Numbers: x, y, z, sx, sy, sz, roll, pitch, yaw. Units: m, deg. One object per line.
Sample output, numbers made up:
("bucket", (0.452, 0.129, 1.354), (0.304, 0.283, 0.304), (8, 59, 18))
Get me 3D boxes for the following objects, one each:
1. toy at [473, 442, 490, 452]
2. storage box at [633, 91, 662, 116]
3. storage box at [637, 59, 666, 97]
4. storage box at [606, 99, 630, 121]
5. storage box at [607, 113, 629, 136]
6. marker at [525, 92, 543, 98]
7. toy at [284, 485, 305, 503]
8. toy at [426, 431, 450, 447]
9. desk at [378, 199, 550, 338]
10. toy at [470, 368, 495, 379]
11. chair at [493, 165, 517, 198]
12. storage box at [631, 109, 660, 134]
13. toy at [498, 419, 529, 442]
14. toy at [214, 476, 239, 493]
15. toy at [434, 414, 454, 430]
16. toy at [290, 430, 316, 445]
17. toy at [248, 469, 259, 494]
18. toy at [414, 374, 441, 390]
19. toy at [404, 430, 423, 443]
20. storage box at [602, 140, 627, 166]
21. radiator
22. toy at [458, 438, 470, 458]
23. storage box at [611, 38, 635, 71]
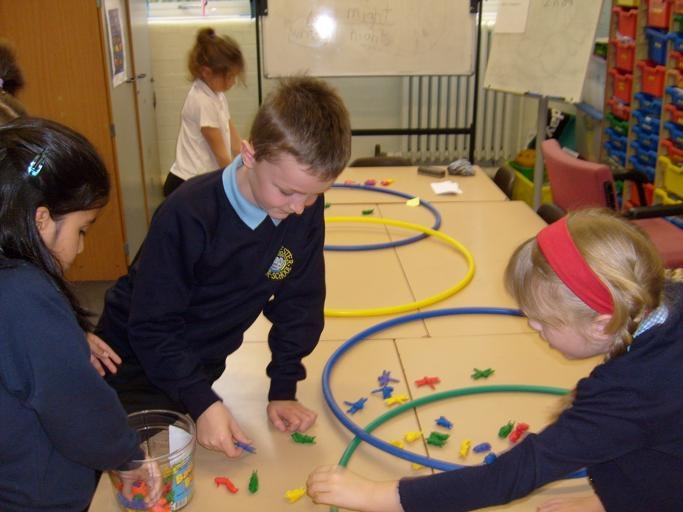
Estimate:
("toy", (0.385, 0.529, 1.427), (0.036, 0.015, 0.022), (-4, 31, -1))
("storage box", (2.245, -1.122, 3.826), (0.159, 0.066, 0.176), (9, 32, 41))
("storage box", (2.233, -1.296, 3.787), (0.210, 0.240, 0.325), (3, 30, 19))
("storage box", (2.228, -1.193, 4.205), (0.126, 0.078, 0.176), (5, 22, 18))
("storage box", (2.245, -1.079, 4.247), (0.126, 0.079, 0.176), (-4, 22, 16))
("marker", (1.585, -1.346, 4.308), (0.138, 0.037, 0.027), (18, 45, 42))
("toy", (-0.114, 0.595, 1.294), (0.040, 0.012, 0.024), (-20, 42, -41))
("toy", (0.267, 0.516, 1.454), (0.038, 0.011, 0.040), (11, 31, 33))
("desk", (0.651, -0.030, 2.580), (0.505, 0.244, 0.985), (-2, 32, 3))
("toy", (0.465, 0.385, 1.711), (0.041, 0.019, 0.040), (-13, 16, -6))
("chair", (1.146, -0.524, 3.647), (0.137, 0.150, 0.200), (-15, 50, -2))
("storage box", (2.237, -0.995, 3.848), (0.131, 0.081, 0.184), (-1, 19, 13))
("toy", (0.488, 0.499, 1.477), (0.053, 0.017, 0.054), (-11, 14, 31))
("toy", (-0.293, 0.590, 1.333), (0.048, 0.014, 0.030), (16, 43, 13))
("toy", (0.297, 0.485, 1.514), (0.039, 0.018, 0.026), (19, 44, 34))
("toy", (-0.099, 0.509, 1.451), (0.051, 0.012, 0.031), (9, 26, 3))
("toy", (-0.220, 0.578, 1.325), (0.016, 0.018, 0.050), (27, 34, -11))
("toy", (0.276, 0.407, 1.671), (0.047, 0.015, 0.039), (-4, 29, -14))
("toy", (0.205, 0.512, 1.473), (0.040, 0.016, 0.025), (-10, 35, -15))
("storage box", (2.270, -0.855, 4.349), (0.126, 0.078, 0.187), (-1, 25, 14))
("radiator", (1.403, -1.895, 6.559), (1.288, 1.479, 1.452), (0, 47, 4))
("toy", (0.329, 0.527, 1.420), (0.021, 0.013, 0.040), (10, 46, 25))
("storage box", (2.197, -1.584, 4.070), (0.206, 0.214, 0.253), (3, 29, 14))
